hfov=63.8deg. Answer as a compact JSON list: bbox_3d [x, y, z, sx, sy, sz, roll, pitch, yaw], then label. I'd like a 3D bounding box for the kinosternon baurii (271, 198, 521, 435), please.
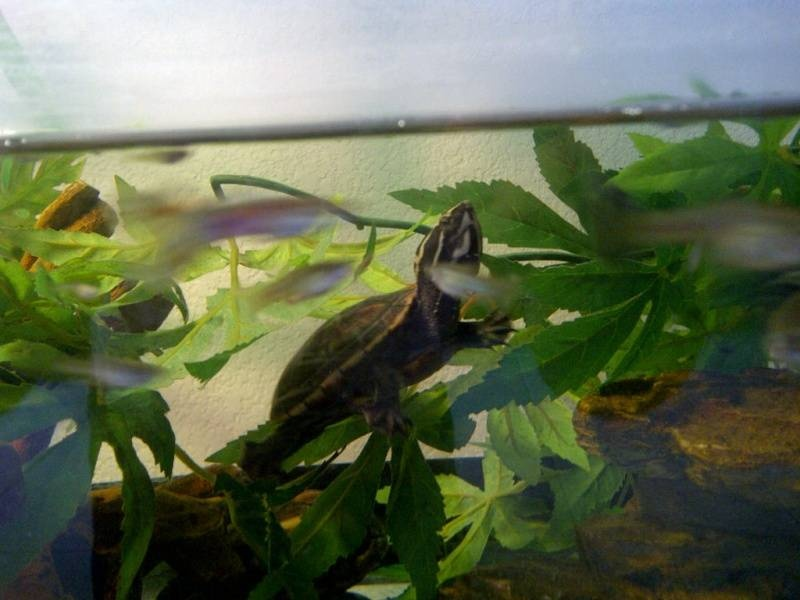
[{"bbox_3d":[-0.013,0.050,0.882,0.345,0.146,0.225,-34,7,23],"label":"kinosternon baurii"}]
